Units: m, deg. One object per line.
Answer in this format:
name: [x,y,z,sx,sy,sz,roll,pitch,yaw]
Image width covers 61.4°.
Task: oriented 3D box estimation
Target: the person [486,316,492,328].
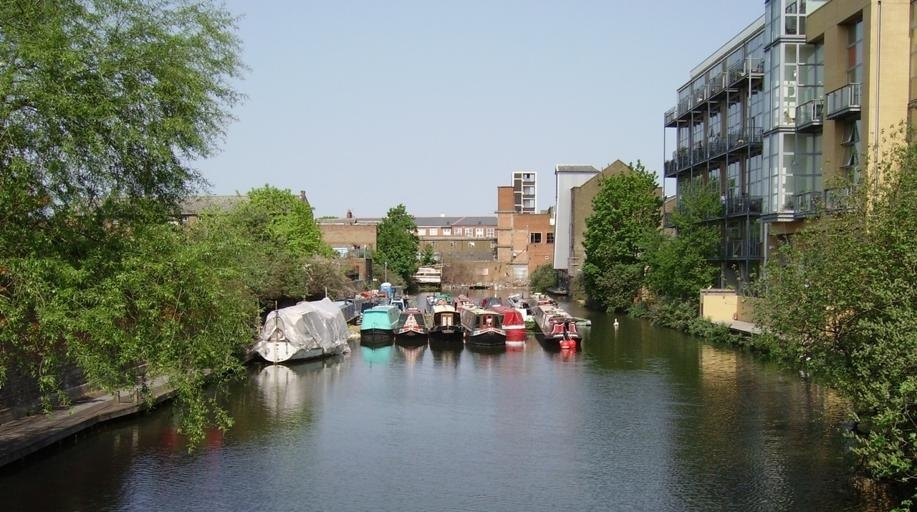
person: [2.131,4.483,53.439,0.544,0.965,0.526,-1,2,-3]
